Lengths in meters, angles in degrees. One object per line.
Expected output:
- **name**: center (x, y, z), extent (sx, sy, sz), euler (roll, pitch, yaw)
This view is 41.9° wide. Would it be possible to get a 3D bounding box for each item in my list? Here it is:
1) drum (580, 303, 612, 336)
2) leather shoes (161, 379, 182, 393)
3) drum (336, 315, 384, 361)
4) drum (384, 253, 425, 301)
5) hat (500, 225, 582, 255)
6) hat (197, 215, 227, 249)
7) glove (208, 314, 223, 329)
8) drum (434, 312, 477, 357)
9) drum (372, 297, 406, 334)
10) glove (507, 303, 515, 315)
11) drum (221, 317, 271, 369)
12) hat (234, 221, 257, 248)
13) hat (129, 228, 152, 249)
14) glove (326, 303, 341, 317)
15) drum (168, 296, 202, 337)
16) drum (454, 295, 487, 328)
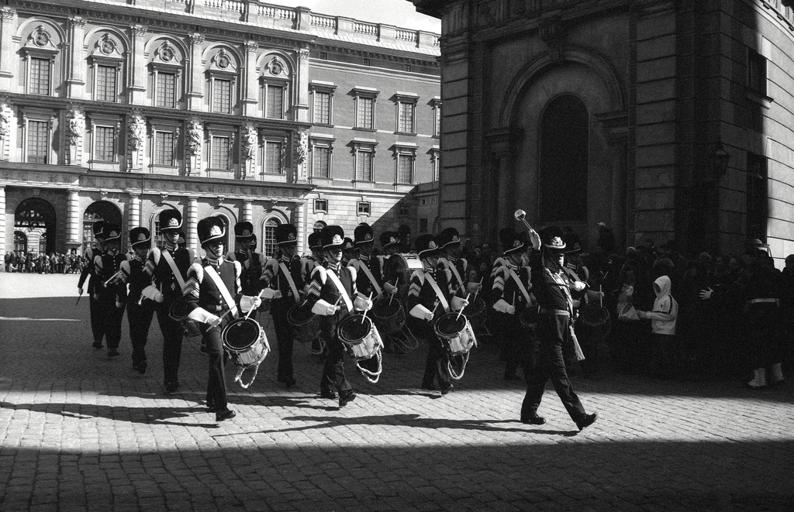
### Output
- **drum**: center (4.324, 1.368, 22.403), extent (0.734, 0.552, 0.671), euler (1, -6, 0)
- **leather shoes**: center (-4.666, 2.727, 21.602), extent (0.362, 0.179, 0.220), euler (-6, 0, -1)
- **drum**: center (-0.757, 1.636, 20.969), extent (0.637, 0.676, 0.698), euler (38, -12, 45)
- **drum**: center (0.163, 0.492, 22.999), extent (0.848, 0.892, 1.048), euler (-2, 23, -28)
- **hat**: center (3.139, -0.340, 22.162), extent (1.236, 0.370, 0.818), euler (0, -4, -8)
- **hat**: center (-3.862, -0.538, 21.074), extent (0.825, 0.633, 0.601), euler (0, 1, 13)
- **glove**: center (-3.548, 1.278, 20.452), extent (0.215, 0.241, 0.512), euler (0, 0, -4)
- **drum**: center (1.310, 1.691, 21.601), extent (0.984, 0.755, 0.666), euler (-12, -39, 17)
- **drum**: center (-0.197, 1.174, 21.923), extent (0.721, 0.784, 0.580), euler (-16, -39, 13)
- **glove**: center (2.352, 1.109, 21.631), extent (0.192, 0.225, 0.331), euler (-5, -3, 22)
- **drum**: center (-2.910, 1.645, 20.110), extent (1.063, 0.888, 0.749), euler (-16, -25, -4)
- **hat**: center (-3.837, -0.496, 26.383), extent (0.715, 0.798, 0.289), euler (-4, 18, -8)
- **hat**: center (-5.877, -0.447, 23.915), extent (0.560, 0.418, 0.431), euler (-14, -6, -4)
- **glove**: center (-1.271, 1.091, 21.146), extent (0.182, 0.246, 0.344), euler (0, 0, 10)
- **drum**: center (-4.127, 1.213, 20.559), extent (0.729, 0.810, 0.465), euler (0, 1, 38)
- **drum**: center (1.619, 1.175, 22.120), extent (0.695, 0.374, 0.651), euler (0, 10, 0)
